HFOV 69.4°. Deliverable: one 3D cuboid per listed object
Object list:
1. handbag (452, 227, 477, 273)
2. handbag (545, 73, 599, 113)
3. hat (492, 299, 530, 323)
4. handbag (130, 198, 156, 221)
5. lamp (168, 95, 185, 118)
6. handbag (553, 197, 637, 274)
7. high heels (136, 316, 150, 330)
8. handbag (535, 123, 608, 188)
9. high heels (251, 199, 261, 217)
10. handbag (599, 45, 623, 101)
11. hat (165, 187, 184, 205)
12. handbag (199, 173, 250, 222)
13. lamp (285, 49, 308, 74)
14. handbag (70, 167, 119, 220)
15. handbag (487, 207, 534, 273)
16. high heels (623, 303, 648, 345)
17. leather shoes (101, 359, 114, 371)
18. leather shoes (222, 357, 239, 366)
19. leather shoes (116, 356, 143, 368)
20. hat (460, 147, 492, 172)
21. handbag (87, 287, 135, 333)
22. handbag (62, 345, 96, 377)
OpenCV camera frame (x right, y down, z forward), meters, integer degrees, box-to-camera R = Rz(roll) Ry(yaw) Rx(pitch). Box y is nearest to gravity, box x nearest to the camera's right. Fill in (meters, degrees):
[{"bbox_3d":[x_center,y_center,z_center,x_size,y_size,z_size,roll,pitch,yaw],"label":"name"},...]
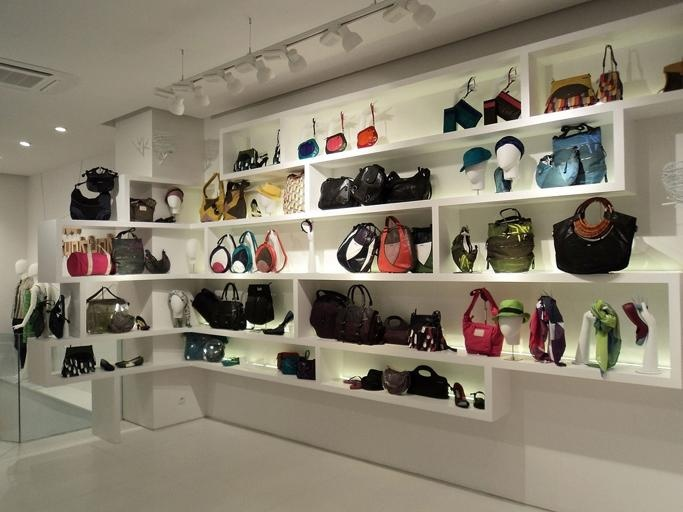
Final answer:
[{"bbox_3d":[0.988,-0.062,3.889,0.242,0.326,0.215,-1,1,-12],"label":"handbag"},{"bbox_3d":[1.638,-1.146,3.488,0.336,0.315,0.127,2,6,33],"label":"handbag"},{"bbox_3d":[1.260,0.393,3.632,0.218,0.148,0.177,-2,1,-45],"label":"hat"},{"bbox_3d":[-2.080,-0.475,5.230,0.192,0.279,0.278,-3,-3,40],"label":"handbag"},{"bbox_3d":[-1.466,-1.350,4.384,0.114,0.184,0.285,-1,1,-20],"label":"lamp"},{"bbox_3d":[1.723,-0.134,3.327,0.469,0.522,0.158,0,-4,44],"label":"handbag"},{"bbox_3d":[-2.073,0.689,5.214,0.077,0.155,0.265,3,1,7],"label":"high heels"},{"bbox_3d":[1.611,-0.678,3.490,0.448,0.366,0.105,-1,0,26],"label":"handbag"},{"bbox_3d":[-0.917,-0.507,5.249,0.073,0.262,0.096,-11,-11,-8],"label":"high heels"},{"bbox_3d":[1.876,-1.271,3.453,0.138,0.351,0.258,-1,1,34],"label":"handbag"},{"bbox_3d":[-1.823,-0.679,5.381,0.135,0.191,0.150,5,28,-12],"label":"hat"},{"bbox_3d":[-1.223,-0.622,5.238,0.506,0.508,0.192,-1,-5,40],"label":"handbag"},{"bbox_3d":[-0.355,-1.531,3.882,0.142,0.174,0.204,-1,1,8],"label":"lamp"},{"bbox_3d":[-2.500,-0.580,5.042,0.378,0.654,0.215,1,-7,-21],"label":"handbag"},{"bbox_3d":[1.257,-0.111,3.656,0.388,0.568,0.283,-3,-7,35],"label":"handbag"},{"bbox_3d":[1.938,0.412,3.247,0.097,0.339,0.124,-21,9,-34],"label":"high heels"},{"bbox_3d":[-2.320,1.067,4.908,0.067,0.079,0.195,3,-4,-40],"label":"leather shoes"},{"bbox_3d":[-1.143,1.080,5.121,0.076,0.044,0.112,0,-1,35],"label":"leather shoes"},{"bbox_3d":[-2.179,1.084,5.106,0.256,0.112,0.102,1,-5,-19],"label":"leather shoes"},{"bbox_3d":[1.028,-0.748,3.799,0.161,0.108,0.214,-30,15,-11],"label":"hat"},{"bbox_3d":[-2.315,0.547,4.986,0.224,0.426,0.415,-3,-3,44],"label":"handbag"},{"bbox_3d":[-2.507,0.974,4.689,0.196,0.322,0.321,-1,1,41],"label":"handbag"}]
